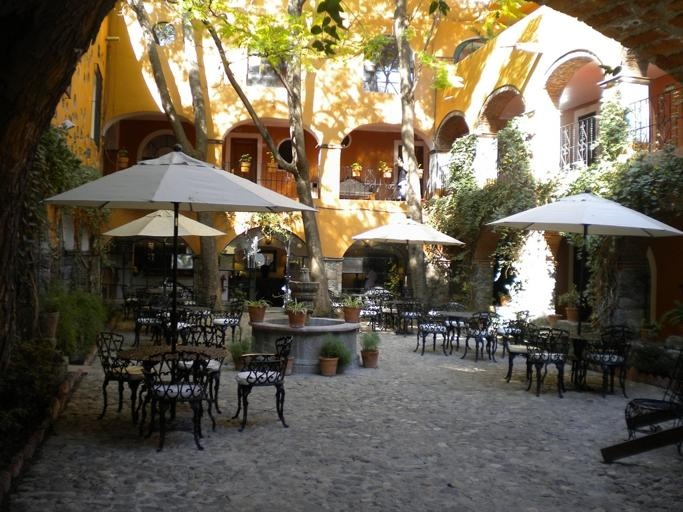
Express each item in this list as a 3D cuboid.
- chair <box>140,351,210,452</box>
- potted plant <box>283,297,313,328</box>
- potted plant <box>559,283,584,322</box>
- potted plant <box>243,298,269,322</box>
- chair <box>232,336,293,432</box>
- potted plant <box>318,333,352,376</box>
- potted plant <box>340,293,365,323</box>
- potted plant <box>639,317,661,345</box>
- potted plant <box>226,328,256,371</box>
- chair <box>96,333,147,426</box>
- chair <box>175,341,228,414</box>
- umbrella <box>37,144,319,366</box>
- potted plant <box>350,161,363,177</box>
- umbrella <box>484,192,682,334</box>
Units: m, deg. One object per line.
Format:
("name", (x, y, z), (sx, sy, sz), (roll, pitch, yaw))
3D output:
("chair", (-1.810, 1.584, 6.551), (0.772, 1.017, 0.741), (5, -10, -39))
("potted plant", (-0.752, 0.975, 10.297), (0.468, 0.443, 0.468), (3, -2, 0))
("potted plant", (5.243, 1.049, 13.352), (0.565, 0.860, 0.654), (9, -9, -15))
("potted plant", (-1.605, 1.025, 11.200), (0.423, 0.418, 0.425), (-3, -9, 38))
("chair", (-1.038, 1.556, 7.284), (1.169, 1.011, 1.160), (0, -2, -15))
("potted plant", (-0.153, 1.648, 10.128), (0.733, 0.746, 0.575), (1, -2, -9))
("potted plant", (0.214, 1.117, 12.580), (0.745, 0.741, 0.624), (1, 0, -1))
("potted plant", (5.503, 1.341, 10.475), (0.373, 0.373, 0.376), (2, -7, 10))
("potted plant", (-1.692, 1.582, 9.867), (0.752, 0.763, 0.603), (1, -2, -12))
("chair", (-2.708, 1.463, 7.381), (0.638, 1.018, 0.639), (3, -3, 11))
("chair", (-1.796, 1.548, 7.407), (0.741, 0.795, 0.814), (-1, 1, -10))
("umbrella", (-2.150, -0.276, 7.662), (2.902, 2.268, 2.950), (1, 7, 6))
("potted plant", (0.541, -3.171, 21.137), (0.468, 0.491, 0.490), (0, 1, -3))
("umbrella", (3.853, 0.121, 9.438), (2.252, 2.371, 2.009), (2, 2, -3))
